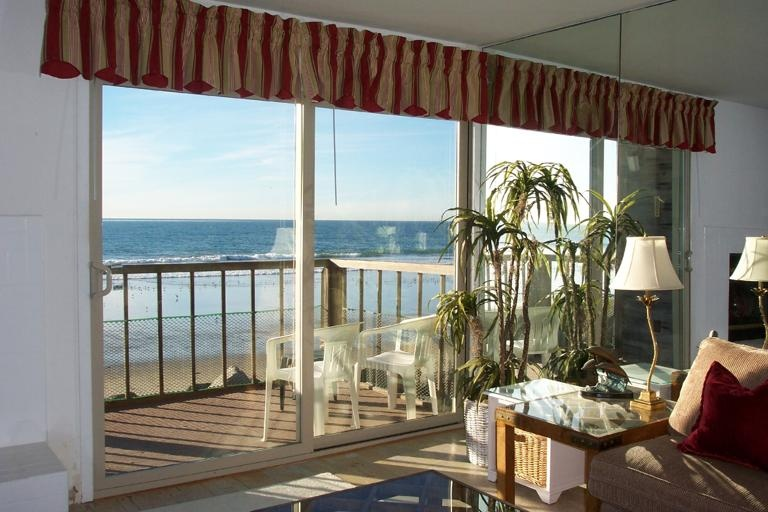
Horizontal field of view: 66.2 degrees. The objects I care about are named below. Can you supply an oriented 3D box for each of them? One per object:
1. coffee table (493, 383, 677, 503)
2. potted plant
[{"bbox_3d":[1.317,1.138,3.949,0.856,0.648,0.847,-2,4,-33],"label":"coffee table"},{"bbox_3d":[0.997,0.223,5.668,1.900,2.889,1.938,1,0,-5],"label":"potted plant"}]
